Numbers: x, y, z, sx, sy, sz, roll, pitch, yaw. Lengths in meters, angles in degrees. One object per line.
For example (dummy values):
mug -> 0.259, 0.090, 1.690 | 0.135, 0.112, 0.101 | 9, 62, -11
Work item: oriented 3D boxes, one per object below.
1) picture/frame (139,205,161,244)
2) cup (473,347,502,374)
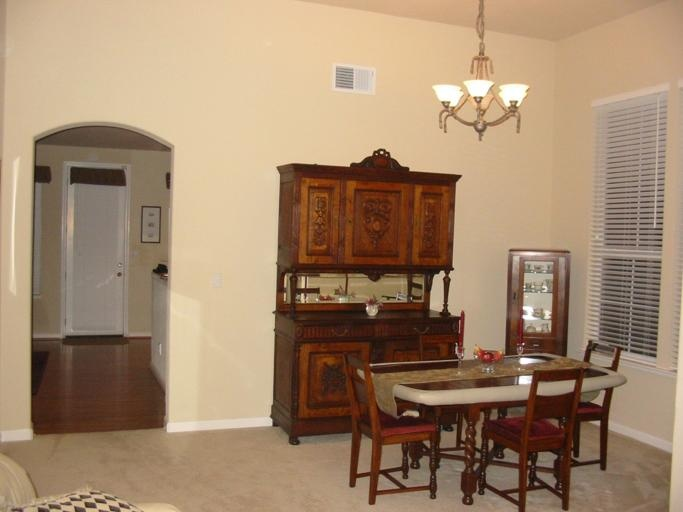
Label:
picture/frame -> -3.447, -0.554, 10.094 | 0.351, 0.672, 0.116 | 1, 8, -4
cup -> 1.271, 0.907, 4.887 | 0.218, 0.204, 0.219 | 0, -6, 0
